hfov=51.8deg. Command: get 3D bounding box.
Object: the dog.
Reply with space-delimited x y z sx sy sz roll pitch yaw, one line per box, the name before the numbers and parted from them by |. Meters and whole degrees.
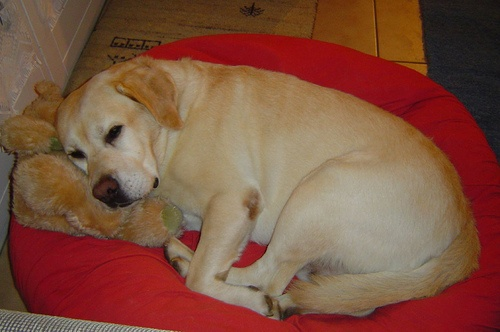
dog | 0.035 0.286 3.826 2.701 1.641 1.291 9 92 -13
